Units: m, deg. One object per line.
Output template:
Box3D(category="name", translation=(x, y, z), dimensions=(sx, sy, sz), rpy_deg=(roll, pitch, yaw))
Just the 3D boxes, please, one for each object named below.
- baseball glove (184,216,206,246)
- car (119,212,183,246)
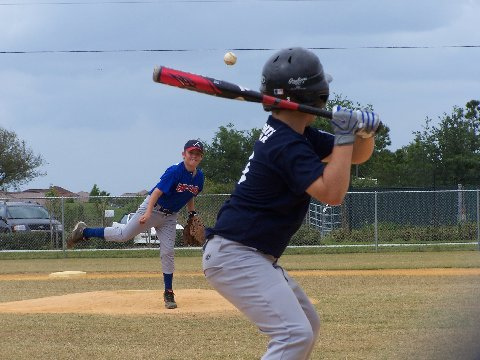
Box3D(category="baseball glove", translation=(-0.754, 0.768, 13.181), dimensions=(0.412, 0.579, 0.310), rpy_deg=(2, 34, -5))
Box3D(category="car", translation=(-2.172, 1.270, 19.979), dimensions=(1.599, 0.769, 0.969), rpy_deg=(-2, -3, 0))
